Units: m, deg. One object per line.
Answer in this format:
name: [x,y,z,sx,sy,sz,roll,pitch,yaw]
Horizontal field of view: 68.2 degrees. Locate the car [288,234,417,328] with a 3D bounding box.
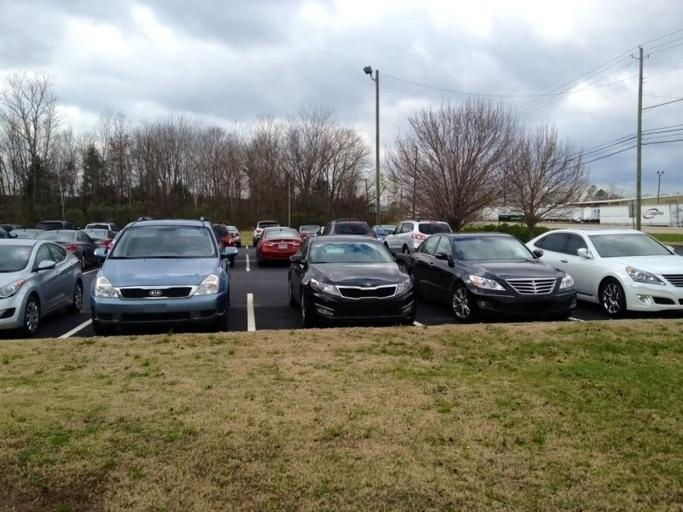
car: [0.161,0.527,9.316,1.952,1.455,2.408,-2,11,-15]

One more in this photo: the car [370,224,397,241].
car: [2.386,-1.398,28.161,1.101,1.098,2.616,-1,-1,-2]

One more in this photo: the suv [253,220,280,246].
suv: [-5.736,-1.331,37.410,1.922,1.888,4.336,1,8,-6]

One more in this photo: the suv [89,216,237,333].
suv: [-2.901,0.268,8.097,1.454,1.292,2.592,-1,-3,-6]

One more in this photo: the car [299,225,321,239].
car: [-1.895,-1.506,29.902,0.999,0.879,2.435,0,11,-10]

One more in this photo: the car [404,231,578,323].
car: [2.958,0.504,10.123,1.836,1.664,3.136,-2,11,-13]
